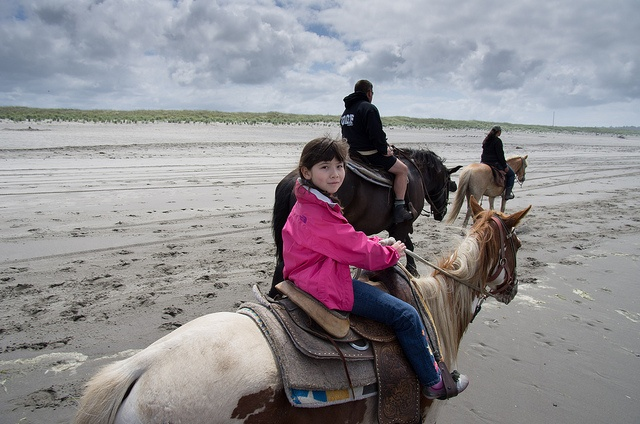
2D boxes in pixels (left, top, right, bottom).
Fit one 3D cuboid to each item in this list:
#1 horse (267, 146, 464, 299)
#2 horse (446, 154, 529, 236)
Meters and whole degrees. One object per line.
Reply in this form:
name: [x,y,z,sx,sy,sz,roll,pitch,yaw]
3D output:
horse: [0.981,0.096,8.425,4.469,2.577,1.165,-6,13,-30]
horse: [5.273,-0.693,13.161,3.632,2.369,0.880,-5,16,-33]
